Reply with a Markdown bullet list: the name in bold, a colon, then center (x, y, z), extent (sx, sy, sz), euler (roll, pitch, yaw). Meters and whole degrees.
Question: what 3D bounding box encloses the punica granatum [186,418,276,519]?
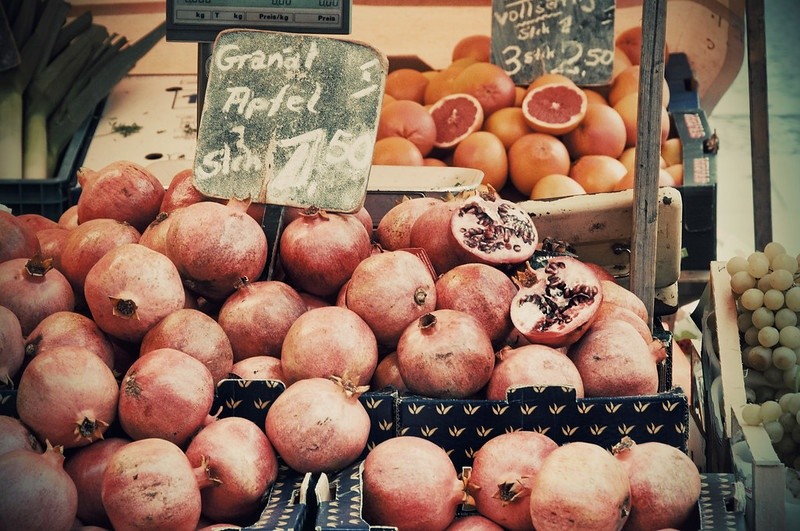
- **punica granatum**: center (-0.636, 0.748, 2.874), extent (0.307, 0.350, 0.411), euler (-5, 60, -27)
